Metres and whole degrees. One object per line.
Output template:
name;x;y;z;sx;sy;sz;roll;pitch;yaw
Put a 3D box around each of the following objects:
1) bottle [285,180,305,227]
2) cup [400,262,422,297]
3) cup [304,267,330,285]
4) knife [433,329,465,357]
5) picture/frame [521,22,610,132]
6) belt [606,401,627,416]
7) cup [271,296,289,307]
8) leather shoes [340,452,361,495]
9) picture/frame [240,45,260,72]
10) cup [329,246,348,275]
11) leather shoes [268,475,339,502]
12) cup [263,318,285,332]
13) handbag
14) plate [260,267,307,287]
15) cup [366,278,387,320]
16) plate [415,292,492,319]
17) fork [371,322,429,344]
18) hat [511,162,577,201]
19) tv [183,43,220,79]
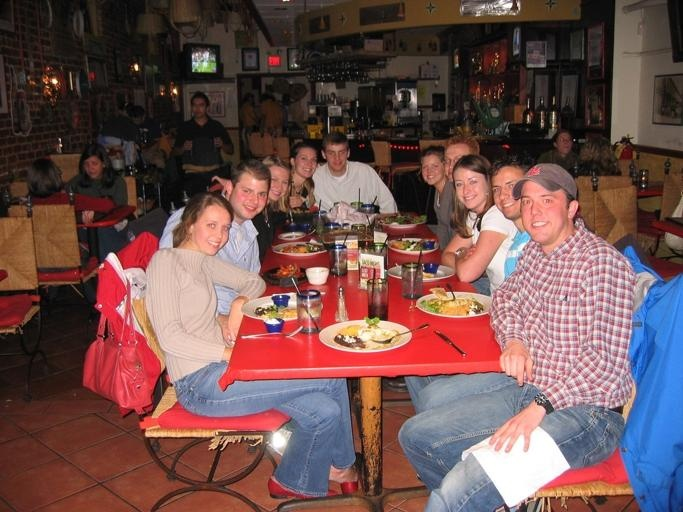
bottle;-0.393;-0.428;4.298;0.116;0.325;0.249;0;-11;33
cup;0.351;0.124;2.636;0.103;0.157;0.098;-1;8;0
cup;-0.125;0.102;2.746;0.092;0.065;0.094;0;-1;0
knife;0.432;0.342;2.151;0.037;0.024;0.196;-7;26;-25
picture/frame;3.475;-2.772;8.120;0.598;1.758;1.840;-7;14;-24
belt;1.103;0.603;2.143;0.060;0.065;0.060;-1;7;-24
cup;-0.287;0.203;2.445;0.053;0.038;0.054;2;17;-1
leather shoes;0.074;1.127;2.727;0.086;0.149;0.148;-1;-3;5
picture/frame;-2.375;-5.087;13.664;0.659;0.757;0.077;-2;12;-4
cup;-0.013;0.031;2.979;0.105;0.166;0.104;-2;-2;0
leather shoes;-0.204;1.170;2.681;0.394;0.160;0.133;-1;-1;0
cup;-0.284;0.292;2.239;0.062;0.044;0.063;0;8;0
handbag;-1.041;0.412;2.404;0.352;0.559;0.184;-1;14;13
plate;-0.304;0.112;2.830;0.138;0.039;0.138;-4;22;-16
cup;0.163;0.183;2.384;0.092;0.190;0.121;-3;14;3
plate;0.530;0.220;2.481;0.359;0.078;0.276;-4;13;1
fork;0.268;0.314;2.208;0.304;0.037;0.075;-14;17;-36
hat;0.877;-0.325;2.279;0.229;0.121;0.165;21;6;-14
tv;-3.246;-4.671;12.806;0.882;0.737;0.452;3;17;2
